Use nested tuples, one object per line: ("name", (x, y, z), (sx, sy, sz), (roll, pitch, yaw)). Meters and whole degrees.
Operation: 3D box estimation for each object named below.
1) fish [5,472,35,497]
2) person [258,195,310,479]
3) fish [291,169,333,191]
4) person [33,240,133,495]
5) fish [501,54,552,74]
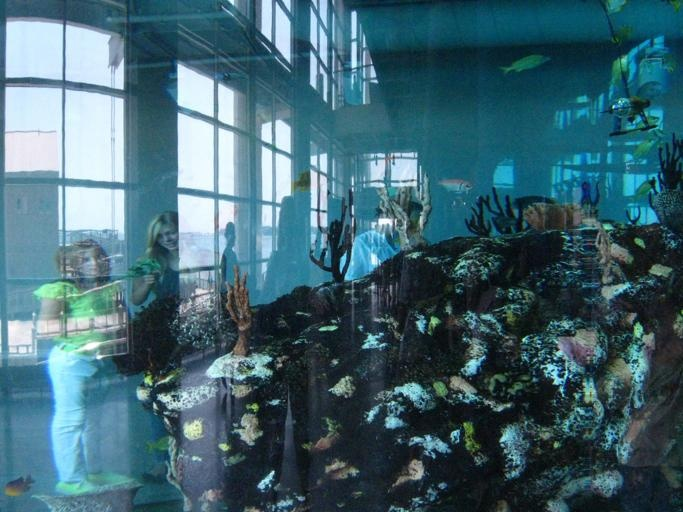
("fish", (-2.358, 1.679, 4.414), (0.211, 0.139, 0.025), (-5, 0, 0))
("person", (-0.359, 0.605, 4.302), (0.419, 2.014, 0.143), (-5, -1, 35))
("fish", (-0.220, -0.525, 4.191), (0.280, 0.154, 0.019), (-5, -1, 17))
("person", (-1.899, 0.821, 4.436), (0.554, 1.709, 0.236), (-4, 0, -24))
("fish", (1.251, -1.288, 4.063), (0.352, 0.122, 0.058), (-13, -2, 8))
